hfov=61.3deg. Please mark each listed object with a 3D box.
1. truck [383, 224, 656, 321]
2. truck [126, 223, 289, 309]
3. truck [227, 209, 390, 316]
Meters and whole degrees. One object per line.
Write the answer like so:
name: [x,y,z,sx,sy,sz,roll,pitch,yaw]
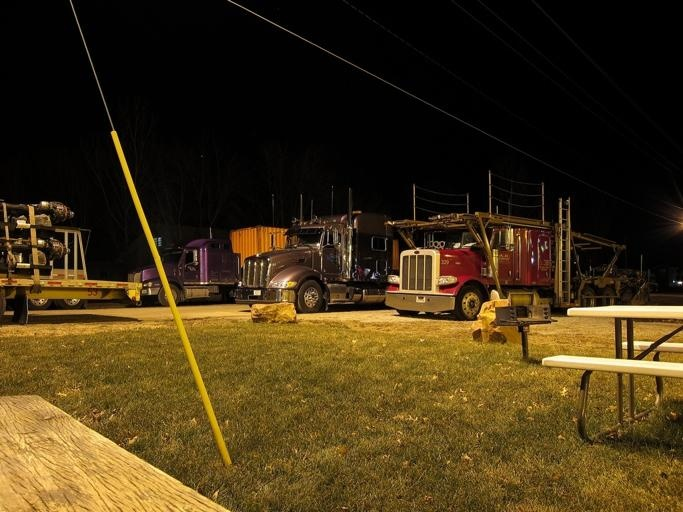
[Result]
truck: [5.586,0.736,18.641,9.115,3.176,3.298,7,-10,-34]
truck: [-5.478,0.454,24.395,2.647,4.491,7.705,-9,-10,41]
truck: [-0.841,0.240,18.802,2.513,3.014,5.173,-7,-13,42]
